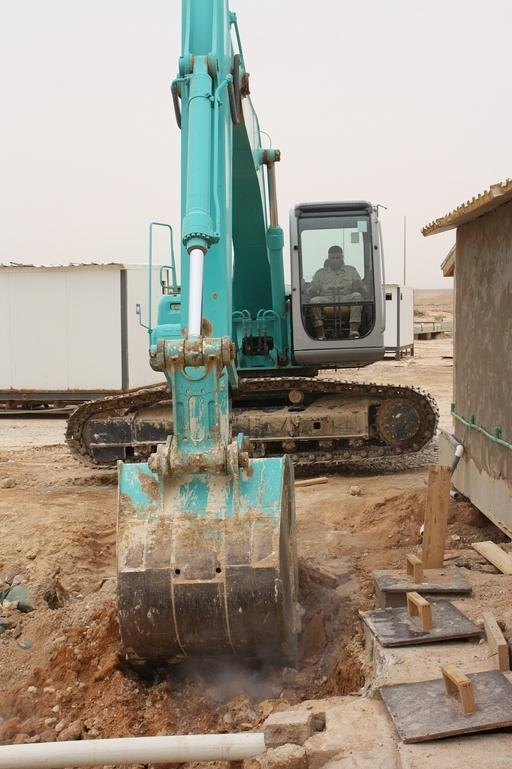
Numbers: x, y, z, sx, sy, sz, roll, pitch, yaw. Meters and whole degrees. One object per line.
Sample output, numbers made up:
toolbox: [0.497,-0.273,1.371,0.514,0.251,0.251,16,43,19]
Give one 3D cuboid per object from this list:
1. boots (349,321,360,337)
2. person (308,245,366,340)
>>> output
boots: [1.299,-0.716,7.489,0.094,0.224,0.207,2,28,3]
person: [1.062,-1.221,7.524,0.714,1.378,0.702,0,-7,-2]
